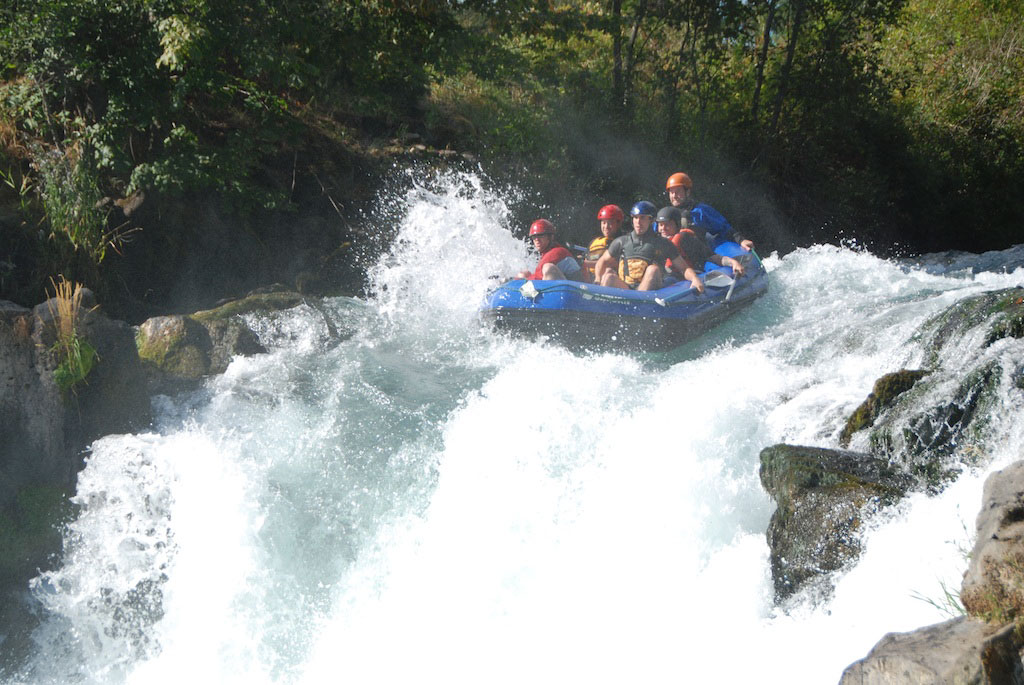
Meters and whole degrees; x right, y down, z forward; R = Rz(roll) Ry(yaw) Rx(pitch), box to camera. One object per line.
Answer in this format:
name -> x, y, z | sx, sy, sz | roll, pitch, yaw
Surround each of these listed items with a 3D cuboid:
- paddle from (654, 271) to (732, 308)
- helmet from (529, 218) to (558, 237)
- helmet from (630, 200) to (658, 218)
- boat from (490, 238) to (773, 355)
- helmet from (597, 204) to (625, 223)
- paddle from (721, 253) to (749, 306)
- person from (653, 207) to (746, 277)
paddle -> 3.211, -0.995, 18.054 | 1.157, 0.350, 0.645 | -8, 29, -39
helmet -> 0.592, -2.055, 19.036 | 0.414, 0.243, 0.316 | -6, 2, -36
helmet -> 2.262, -2.297, 18.465 | 0.267, 0.324, 0.529 | 11, 29, 27
boat -> 2.272, -0.645, 18.443 | 1.845, 0.898, 3.120 | 3, 14, 39
helmet -> 1.732, -2.271, 18.826 | 0.451, 0.374, 0.326 | 10, 5, -37
paddle -> 3.805, -1.162, 18.493 | 0.623, 0.700, 0.188 | 6, -6, -41
person -> 3.410, -2.122, 19.398 | 1.069, 0.709, 1.878 | 21, -9, -42
